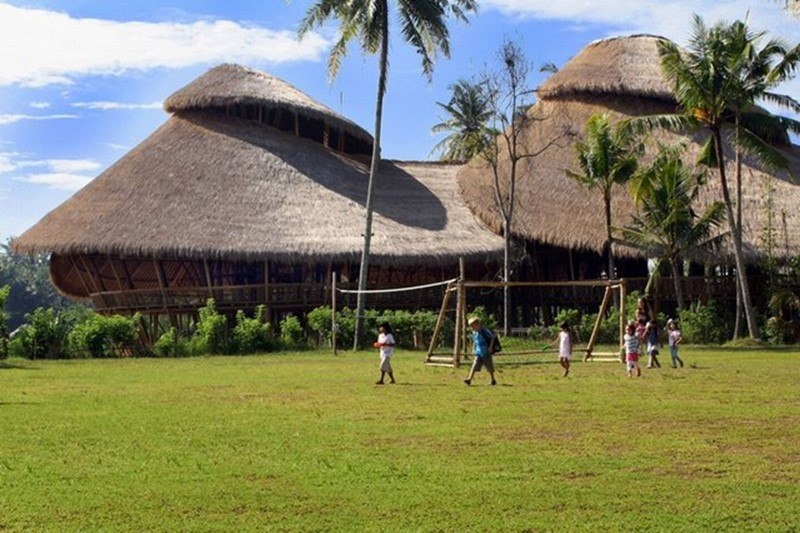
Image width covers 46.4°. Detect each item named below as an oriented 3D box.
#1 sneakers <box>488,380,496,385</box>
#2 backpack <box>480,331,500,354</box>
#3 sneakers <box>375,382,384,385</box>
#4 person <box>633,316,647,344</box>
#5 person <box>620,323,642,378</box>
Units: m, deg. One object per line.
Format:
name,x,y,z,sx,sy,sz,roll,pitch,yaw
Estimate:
sneakers,2.288,2.855,23.129,0.174,0.128,0.538,1,-5,5
backpack,2.275,1.852,23.284,0.378,0.587,0.499,0,-5,12
sneakers,-0.504,2.873,23.244,0.204,0.090,0.367,2,-5,-4
person,6.908,1.801,26.949,0.594,0.770,0.307,5,-15,-30
person,6.131,2.175,24.678,0.409,1.417,1.163,0,-5,14
